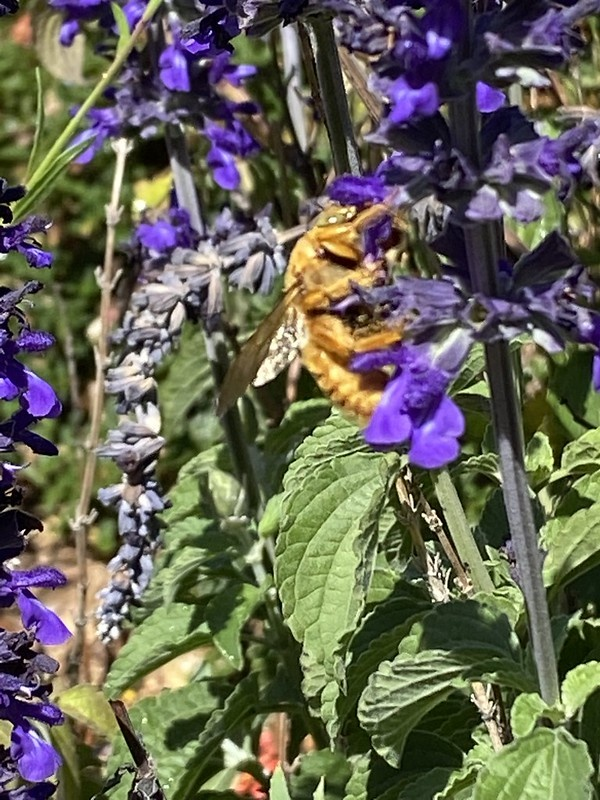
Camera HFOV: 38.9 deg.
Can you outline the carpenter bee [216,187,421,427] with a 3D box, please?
[{"bbox_3d":[0.035,-0.141,1.176,0.297,0.108,0.300,-49,-8,-41],"label":"carpenter bee"}]
